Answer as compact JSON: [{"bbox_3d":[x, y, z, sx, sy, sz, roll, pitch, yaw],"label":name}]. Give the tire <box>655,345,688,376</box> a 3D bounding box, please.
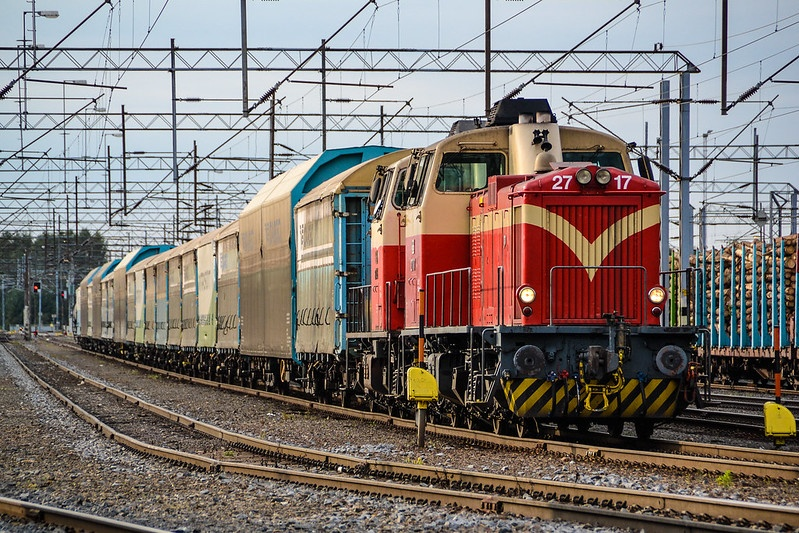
[{"bbox_3d":[4.810,1.689,18.767,0.519,0.552,0.160,13,-2,-3],"label":"tire"}]
